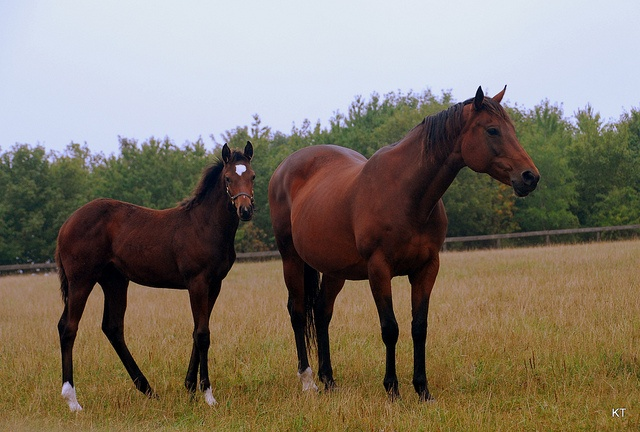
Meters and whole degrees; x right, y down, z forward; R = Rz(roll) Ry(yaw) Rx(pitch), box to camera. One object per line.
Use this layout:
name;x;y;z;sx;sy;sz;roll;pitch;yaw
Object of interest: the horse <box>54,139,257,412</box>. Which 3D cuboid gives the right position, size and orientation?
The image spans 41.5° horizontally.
horse;-4.001;1.443;22.304;6.346;6.803;1.958;-3;-5;13
